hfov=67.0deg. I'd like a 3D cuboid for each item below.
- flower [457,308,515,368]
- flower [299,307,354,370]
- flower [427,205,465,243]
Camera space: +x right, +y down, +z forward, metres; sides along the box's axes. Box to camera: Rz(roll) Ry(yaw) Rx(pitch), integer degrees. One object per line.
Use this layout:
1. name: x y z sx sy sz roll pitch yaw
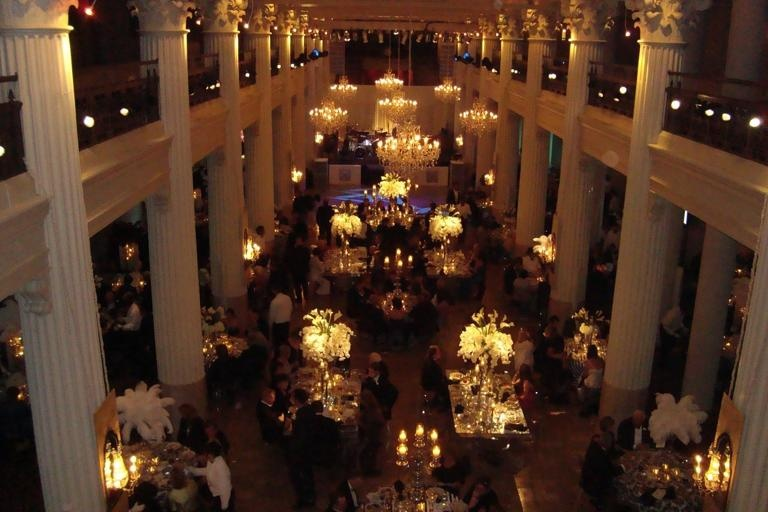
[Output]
1. flower: 1.525 1.301 8.637 0.576 0.817 0.618 1 -3 19
2. flower: -1.040 1.252 8.735 0.650 0.828 0.662 27 3 -37
3. flower: 1.388 -0.805 13.436 0.669 0.791 0.720 3 6 15
